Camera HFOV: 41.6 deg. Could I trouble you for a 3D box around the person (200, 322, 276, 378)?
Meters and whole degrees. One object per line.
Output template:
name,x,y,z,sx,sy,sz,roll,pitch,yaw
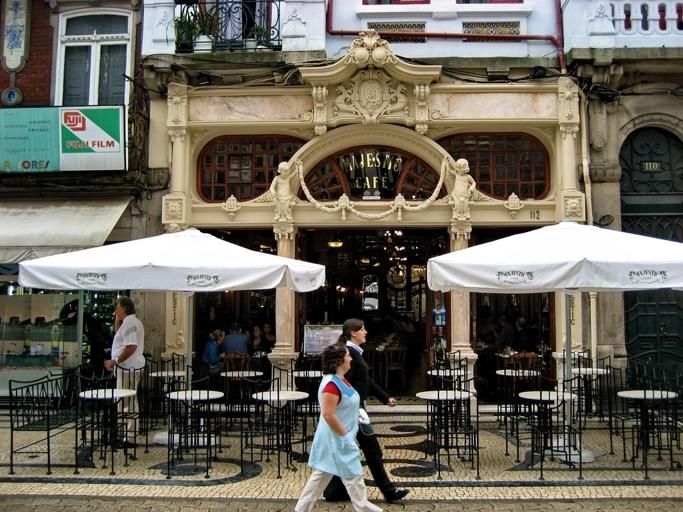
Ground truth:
person,-2.287,1.980,19.529,1.234,1.447,0.637,2,29,-4

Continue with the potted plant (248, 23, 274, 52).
potted plant,-1.807,-4.844,19.984,0.600,0.562,0.274,0,-4,-2

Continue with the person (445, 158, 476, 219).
person,2.644,-1.426,19.514,0.576,1.356,0.253,0,-4,6

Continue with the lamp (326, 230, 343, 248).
lamp,-0.131,-0.467,24.973,0.456,0.429,0.437,1,1,-37

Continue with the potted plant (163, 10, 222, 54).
potted plant,-3.195,-5.118,20.027,0.983,1.167,0.404,1,-4,-11

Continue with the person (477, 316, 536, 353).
person,4.052,1.817,20.747,0.986,0.859,0.227,-6,-23,40

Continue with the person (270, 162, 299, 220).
person,-1.257,-1.413,19.737,0.610,1.321,0.258,1,-4,-6
